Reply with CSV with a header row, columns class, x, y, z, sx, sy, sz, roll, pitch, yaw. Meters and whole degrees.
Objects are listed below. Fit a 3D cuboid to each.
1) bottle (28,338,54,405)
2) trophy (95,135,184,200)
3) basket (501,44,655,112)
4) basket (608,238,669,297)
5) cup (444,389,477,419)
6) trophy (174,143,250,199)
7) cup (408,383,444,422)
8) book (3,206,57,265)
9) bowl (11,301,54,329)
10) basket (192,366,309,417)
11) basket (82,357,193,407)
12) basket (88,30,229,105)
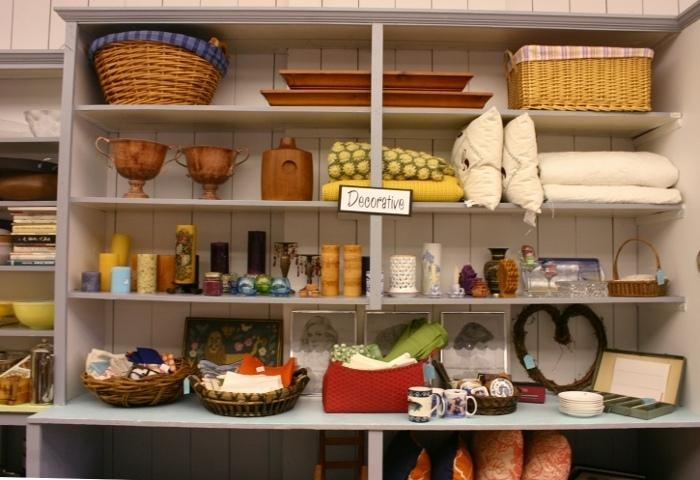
class,x,y,z,sx,sy,sz,roll,pitch,yaw
bottle,-1.788,0.756,4.372,0.153,0.350,0.157,2,3,0
trophy,-1.279,-0.424,4.491,0.371,0.328,0.365,2,-4,23
basket,1.340,-0.947,4.639,0.826,0.375,0.560,3,7,-5
basket,1.728,0.163,4.489,0.329,0.335,0.408,0,-1,23
cup,0.600,0.903,4.160,0.193,0.129,0.117,1,-4,1
trophy,-0.845,-0.393,4.515,0.456,0.296,0.351,0,-4,-8
cup,0.419,0.902,4.139,0.213,0.179,0.107,0,-1,5
book,-1.870,-0.045,4.505,0.359,0.327,0.222,5,7,13
bowl,-1.905,0.449,4.473,0.326,0.162,0.165,0,-1,34
basket,-0.569,0.868,4.192,0.656,0.203,0.206,0,-1,-6
basket,-1.242,0.826,4.406,0.575,0.205,0.554,0,4,-9
basket,-1.197,-1.032,4.691,0.893,0.449,0.926,0,-3,3
